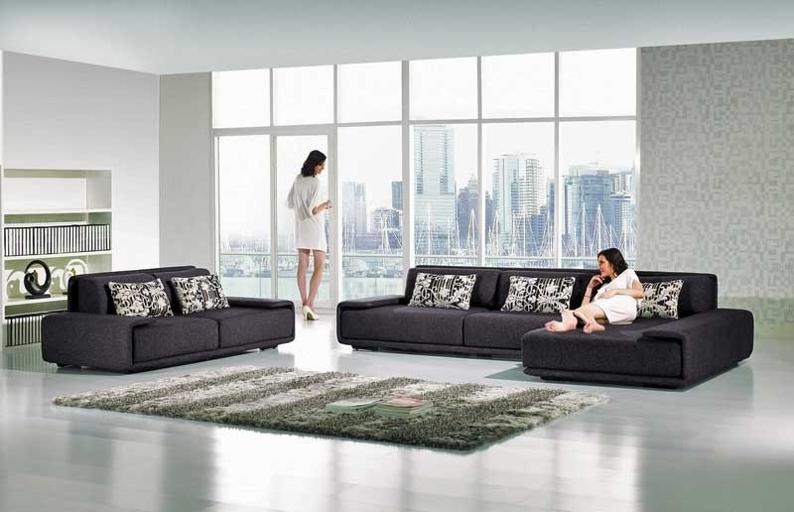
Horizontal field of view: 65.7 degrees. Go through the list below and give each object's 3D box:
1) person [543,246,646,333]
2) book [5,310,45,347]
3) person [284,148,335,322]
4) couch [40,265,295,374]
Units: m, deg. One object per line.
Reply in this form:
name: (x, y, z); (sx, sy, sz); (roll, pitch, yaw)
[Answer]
person: (2.181, 0.374, 6.810); (1.376, 0.797, 0.620); (-7, -2, -40)
book: (-4.963, 0.968, 8.177); (0.227, 0.228, 0.538); (1, -1, 23)
person: (-1.483, -0.347, 10.496); (0.721, 2.850, 0.407); (-1, 3, 8)
couch: (-2.769, 0.719, 7.489); (1.370, 1.069, 2.469); (1, 4, 44)
